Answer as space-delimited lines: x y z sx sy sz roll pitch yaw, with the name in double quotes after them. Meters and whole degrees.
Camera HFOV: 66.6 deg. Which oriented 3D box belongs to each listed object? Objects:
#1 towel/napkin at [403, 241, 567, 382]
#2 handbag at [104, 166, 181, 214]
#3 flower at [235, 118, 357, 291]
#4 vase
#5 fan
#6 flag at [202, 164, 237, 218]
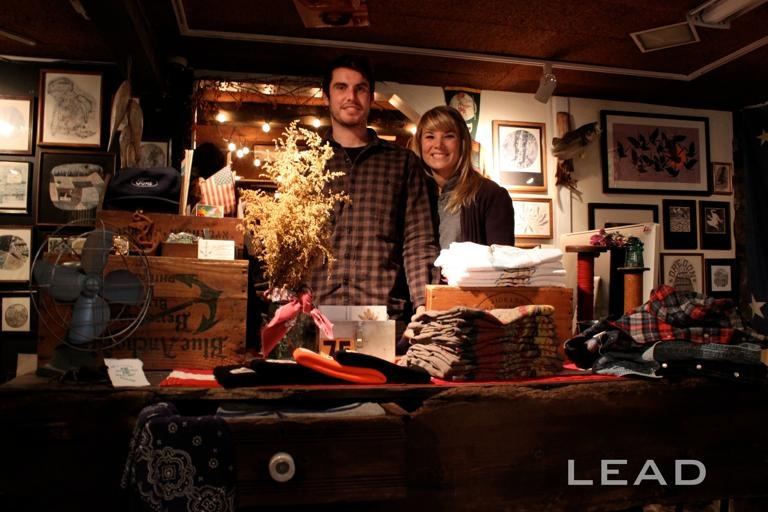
0.583 0.282 3.129 0.927 0.712 0.521 2 -3 -1 "towel/napkin"
-1.230 -0.326 3.028 0.434 0.161 0.576 -6 -3 -29 "handbag"
-0.480 -0.290 3.311 0.643 0.956 0.668 3 -3 -13 "flower"
-0.495 0.333 3.007 0.239 0.378 0.134 3 -3 -10 "vase"
-1.479 0.206 2.896 0.575 0.639 0.526 -1 -3 16 "fan"
-1.133 -0.429 3.885 0.323 0.303 0.112 -14 -7 -33 "flag"
